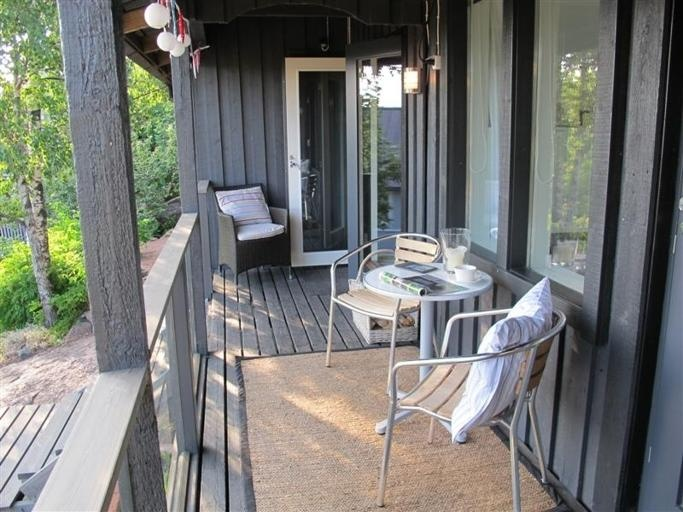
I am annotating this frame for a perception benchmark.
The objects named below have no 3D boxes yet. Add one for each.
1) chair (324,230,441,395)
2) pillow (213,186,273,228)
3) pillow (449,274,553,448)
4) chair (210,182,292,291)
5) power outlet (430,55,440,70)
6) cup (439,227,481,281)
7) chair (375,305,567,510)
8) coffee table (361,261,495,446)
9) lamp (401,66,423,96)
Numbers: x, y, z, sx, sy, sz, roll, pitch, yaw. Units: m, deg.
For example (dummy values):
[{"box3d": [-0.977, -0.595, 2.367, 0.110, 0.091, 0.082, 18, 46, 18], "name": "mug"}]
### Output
[{"box3d": [0.305, 0.367, 3.451, 0.639, 1.005, 0.660, -9, 17, -40], "name": "chair"}, {"box3d": [-1.203, -0.559, 5.856, 0.536, 0.204, 0.600, -21, 6, -42], "name": "pillow"}, {"box3d": [0.716, 0.453, 2.176, 0.300, 0.594, 0.595, 12, 16, 22], "name": "pillow"}, {"box3d": [-1.055, -0.294, 5.741, 0.691, 1.070, 0.690, -9, 10, -33], "name": "chair"}, {"box3d": [0.659, -1.338, 3.476, 0.024, 0.106, 0.100, -3, 11, -25], "name": "power outlet"}, {"box3d": [0.642, -0.015, 2.788, 0.228, 0.427, 0.251, -2, 4, 0], "name": "cup"}, {"box3d": [0.619, 0.697, 2.509, 0.823, 1.165, 0.846, 5, 11, 25], "name": "chair"}, {"box3d": [0.505, 0.455, 2.824, 0.526, 0.676, 0.585, -10, -20, -5], "name": "coffee table"}, {"box3d": [0.540, -1.341, 3.815, 0.132, 0.189, 0.120, -1, 12, 6], "name": "lamp"}]
